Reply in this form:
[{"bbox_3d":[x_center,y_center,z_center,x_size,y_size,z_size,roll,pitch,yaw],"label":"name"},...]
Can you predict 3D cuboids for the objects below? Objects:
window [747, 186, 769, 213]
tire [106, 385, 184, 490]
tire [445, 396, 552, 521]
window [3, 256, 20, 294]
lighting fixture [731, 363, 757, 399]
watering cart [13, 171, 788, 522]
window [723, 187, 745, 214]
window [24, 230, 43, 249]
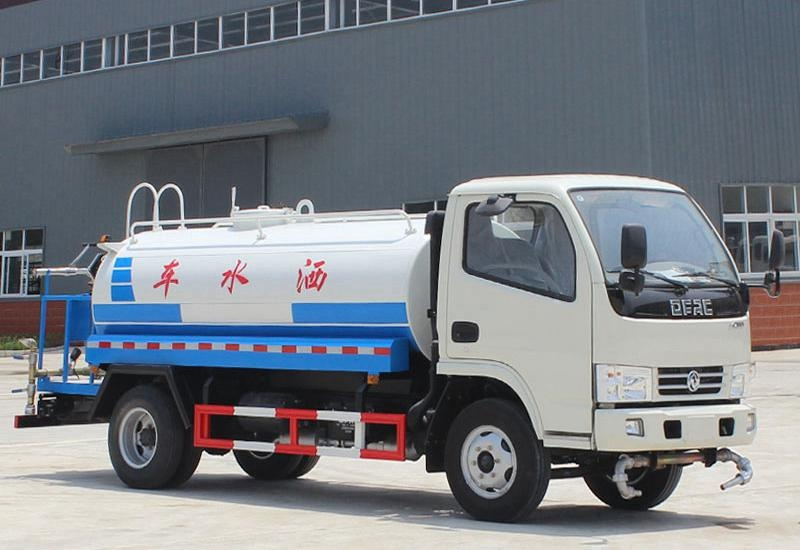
[{"bbox_3d":[11.441,-2.430,36.115,0.800,0.708,0.274,10,-8,-36],"label":"window"},{"bbox_3d":[-3.806,2.452,17.006,1.598,1.703,0.579,1,1,40],"label":"tire"},{"bbox_3d":[1.309,2.374,14.801,1.747,1.865,0.668,-1,-1,33],"label":"tire"},{"bbox_3d":[-16.650,-0.016,48.283,0.268,2.147,1.624,-1,1,-44],"label":"window"},{"bbox_3d":[4.577,1.391,15.008,0.156,0.461,0.594,-5,-5,37],"label":"lighting fixture"},{"bbox_3d":[-0.778,0.968,17.908,12.088,4.514,3.847,-2,-4,37],"label":"watering cart"},{"bbox_3d":[10.557,-2.369,35.681,0.895,0.793,0.209,2,6,-17],"label":"window"},{"bbox_3d":[-15.426,-1.501,47.324,0.886,0.795,0.215,3,-3,32],"label":"window"}]
